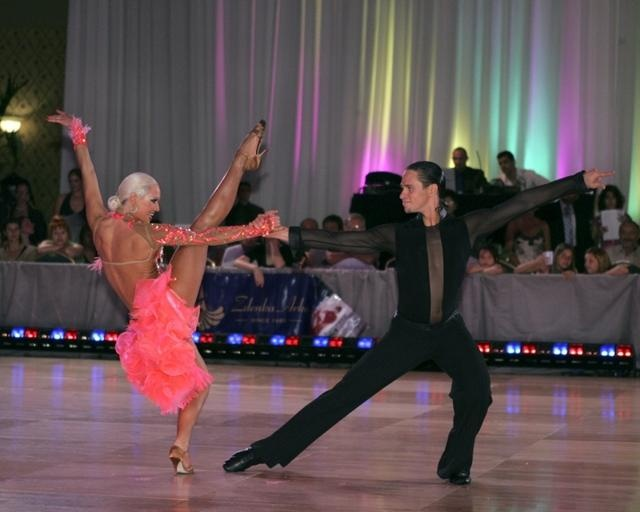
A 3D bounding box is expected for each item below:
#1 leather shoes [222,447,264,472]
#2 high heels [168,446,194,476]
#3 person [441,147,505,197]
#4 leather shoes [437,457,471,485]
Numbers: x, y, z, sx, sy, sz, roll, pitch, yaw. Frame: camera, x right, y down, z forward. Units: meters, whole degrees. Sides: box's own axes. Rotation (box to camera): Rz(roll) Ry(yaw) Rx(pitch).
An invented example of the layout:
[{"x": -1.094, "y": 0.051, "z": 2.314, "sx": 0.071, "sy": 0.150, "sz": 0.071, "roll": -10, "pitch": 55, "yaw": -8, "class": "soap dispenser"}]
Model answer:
[{"x": -0.490, "y": 1.302, "z": 6.173, "sx": 0.242, "sy": 0.140, "sz": 0.092, "roll": -27, "pitch": -4, "yaw": 6, "class": "leather shoes"}, {"x": -0.873, "y": 1.283, "z": 6.122, "sx": 0.154, "sy": 0.176, "sz": 0.125, "roll": 1, "pitch": 5, "yaw": 8, "class": "high heels"}, {"x": 1.949, "y": -1.043, "z": 12.087, "sx": 0.677, "sy": 1.164, "sz": 0.435, "roll": -2, "pitch": -43, "yaw": 8, "class": "person"}, {"x": 0.833, "y": 1.331, "z": 5.969, "sx": 0.216, "sy": 0.211, "sz": 0.113, "roll": 1, "pitch": 2, "yaw": 3, "class": "leather shoes"}]
